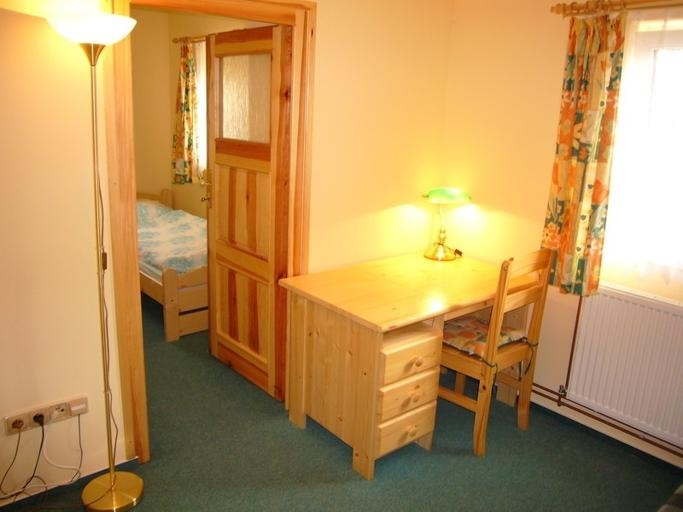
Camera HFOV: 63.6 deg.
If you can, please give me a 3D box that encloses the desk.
[{"bbox_3d":[0.272,0.603,3.372,1.061,0.896,0.880,-12,22,-37],"label":"desk"}]
